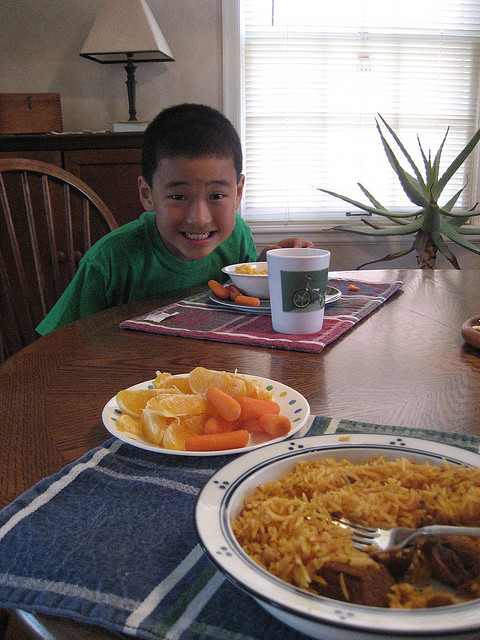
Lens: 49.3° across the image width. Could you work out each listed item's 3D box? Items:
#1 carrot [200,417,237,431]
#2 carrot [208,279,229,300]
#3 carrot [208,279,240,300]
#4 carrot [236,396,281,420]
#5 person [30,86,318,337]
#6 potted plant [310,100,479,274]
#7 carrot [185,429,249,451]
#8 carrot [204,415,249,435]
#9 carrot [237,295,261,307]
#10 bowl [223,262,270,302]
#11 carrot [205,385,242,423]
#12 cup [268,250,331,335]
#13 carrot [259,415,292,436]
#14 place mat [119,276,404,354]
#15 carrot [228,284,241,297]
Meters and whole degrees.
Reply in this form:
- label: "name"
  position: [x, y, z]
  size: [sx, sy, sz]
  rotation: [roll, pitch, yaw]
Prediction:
- label: "carrot"
  position: [-0.020, 0.097, 0.491]
  size: [0.028, 0.009, 0.013]
  rotation: [-1, -9, -18]
- label: "carrot"
  position: [-0.046, -0.064, 1.112]
  size: [0.020, 0.020, 0.069]
  rotation: [-33, 27, -15]
- label: "carrot"
  position: [-0.033, -0.068, 1.115]
  size: [0.033, 0.017, 0.065]
  rotation: [-4, 21, -25]
- label: "carrot"
  position: [0.016, 0.085, 0.507]
  size: [0.051, 0.022, 0.019]
  rotation: [7, -20, -32]
- label: "person"
  position: [-0.134, -0.315, 1.579]
  size: [1.036, 0.564, 0.402]
  rotation: [-14, 21, -30]
- label: "potted plant"
  position: [0.892, -0.829, 3.104]
  size: [1.009, 0.975, 0.989]
  rotation: [2, 22, -3]
- label: "carrot"
  position: [-0.018, 0.109, 0.480]
  size: [0.068, 0.017, 0.020]
  rotation: [-1, -15, -2]
- label: "carrot"
  position: [-0.012, 0.099, 0.492]
  size: [0.044, 0.013, 0.012]
  rotation: [0, -11, -31]
- label: "carrot"
  position: [0.016, -0.038, 1.021]
  size: [0.039, 0.013, 0.018]
  rotation: [12, 21, 18]
- label: "bowl"
  position: [0.011, -0.081, 1.096]
  size: [0.094, 0.035, 0.092]
  rotation: [4, 29, -2]
- label: "carrot"
  position: [-0.016, 0.079, 0.492]
  size: [0.019, 0.017, 0.041]
  rotation: [-31, 40, -21]
- label: "cup"
  position: [0.101, -0.053, 0.929]
  size: [0.144, 0.192, 0.126]
  rotation: [0, 8, 0]
- label: "carrot"
  position: [0.033, 0.098, 0.494]
  size: [0.030, 0.016, 0.020]
  rotation: [0, 14, 6]
- label: "place mat"
  position: [0.071, -0.032, 1.082]
  size: [0.395, 0.024, 0.559]
  rotation: [6, 15, 27]
- label: "carrot"
  position: [-0.011, -0.061, 1.090]
  size: [0.009, 0.007, 0.027]
  rotation: [-23, 31, -8]
